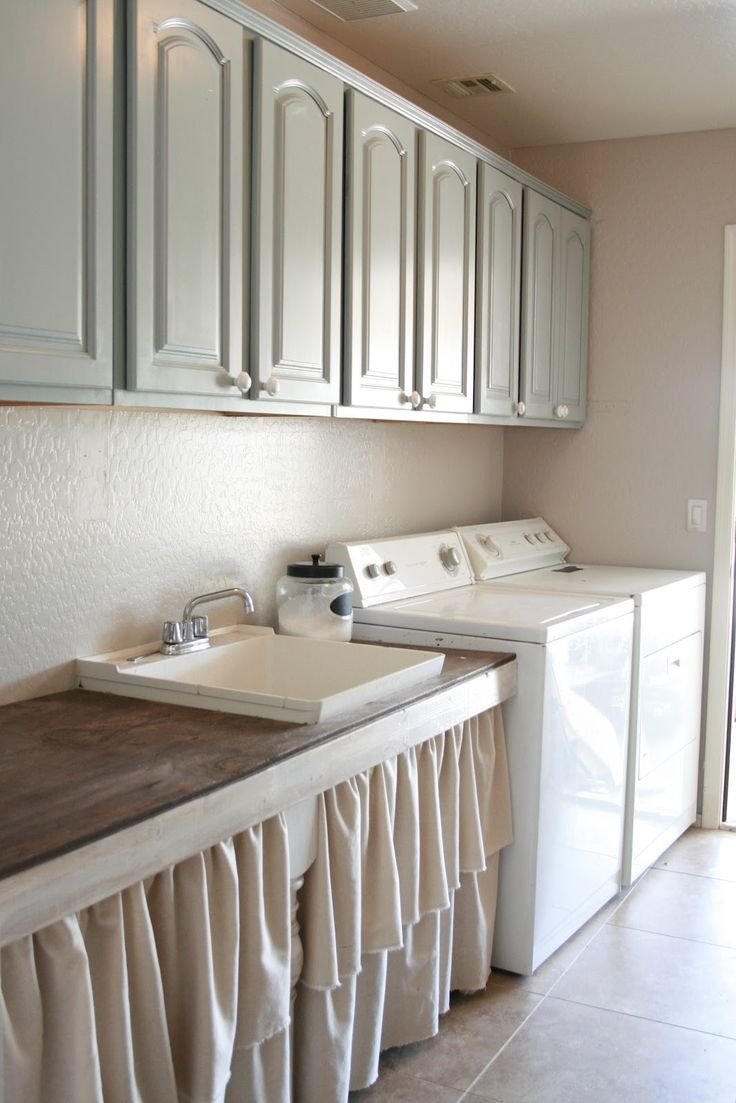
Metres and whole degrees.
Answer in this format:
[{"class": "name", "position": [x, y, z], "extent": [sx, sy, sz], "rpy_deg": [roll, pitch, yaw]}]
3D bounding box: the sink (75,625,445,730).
[{"class": "sink", "position": [-0.197, 0.252, 1.687], "extent": [0.552, 0.179, 0.559], "rpy_deg": [1, 0, 30]}]

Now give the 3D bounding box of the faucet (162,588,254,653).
[{"class": "faucet", "position": [-0.342, 0.156, 1.775], "extent": [0.137, 0.123, 0.141], "rpy_deg": [0, 3, 17]}]

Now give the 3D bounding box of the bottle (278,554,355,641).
[{"class": "bottle", "position": [-0.123, 0.092, 2.021], "extent": [0.174, 0.221, 0.181], "rpy_deg": [1, 4, 0]}]

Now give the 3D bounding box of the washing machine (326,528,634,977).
[{"class": "washing machine", "position": [0.373, 0.509, 2.473], "extent": [0.584, 1.110, 0.762], "rpy_deg": [1, 4, 37]}]
